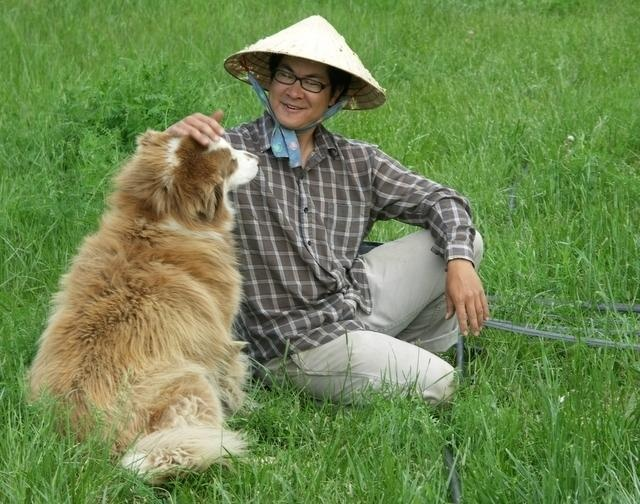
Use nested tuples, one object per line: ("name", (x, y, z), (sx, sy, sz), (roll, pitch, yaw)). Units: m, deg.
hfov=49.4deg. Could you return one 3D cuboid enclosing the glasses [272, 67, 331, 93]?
("glasses", (-0.130, -1.100, 4.492), (0.342, 0.125, 0.122), (8, 33, 3))
